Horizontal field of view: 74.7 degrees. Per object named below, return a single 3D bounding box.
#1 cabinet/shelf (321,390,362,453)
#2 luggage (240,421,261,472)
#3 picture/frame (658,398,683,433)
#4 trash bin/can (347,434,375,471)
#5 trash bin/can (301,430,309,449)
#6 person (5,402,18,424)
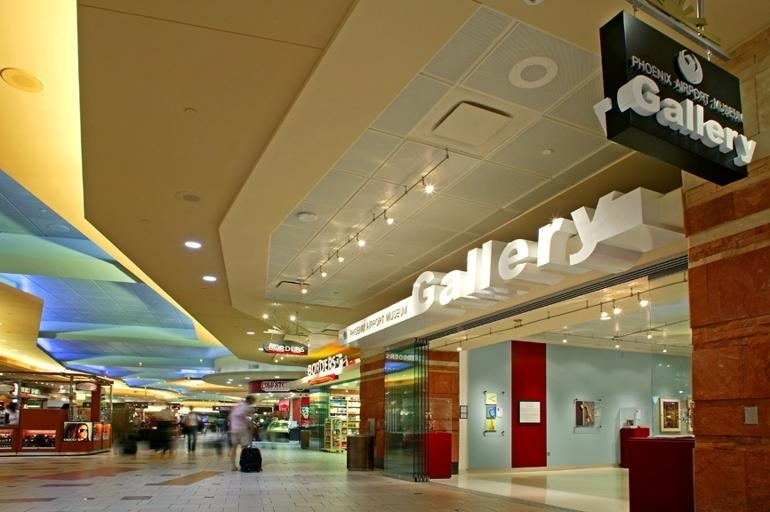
[{"bbox_3d":[-2.252,8.386,25.438,1.707,2.817,3.955,2,-19,-4],"label":"cabinet/shelf"},{"bbox_3d":[-3.494,4.977,12.905,0.607,1.346,0.510,18,-41,-39],"label":"luggage"},{"bbox_3d":[3.118,1.767,5.513,0.218,0.356,0.031,-3,2,8],"label":"picture/frame"},{"bbox_3d":[-0.894,5.800,14.845,0.976,0.959,0.978,11,-15,-39],"label":"trash bin/can"},{"bbox_3d":[-4.214,9.674,26.255,0.541,0.856,0.332,-10,-23,27],"label":"trash bin/can"},{"bbox_3d":[-13.819,5.880,18.588,0.362,0.782,2.113,16,-24,-35],"label":"person"}]
